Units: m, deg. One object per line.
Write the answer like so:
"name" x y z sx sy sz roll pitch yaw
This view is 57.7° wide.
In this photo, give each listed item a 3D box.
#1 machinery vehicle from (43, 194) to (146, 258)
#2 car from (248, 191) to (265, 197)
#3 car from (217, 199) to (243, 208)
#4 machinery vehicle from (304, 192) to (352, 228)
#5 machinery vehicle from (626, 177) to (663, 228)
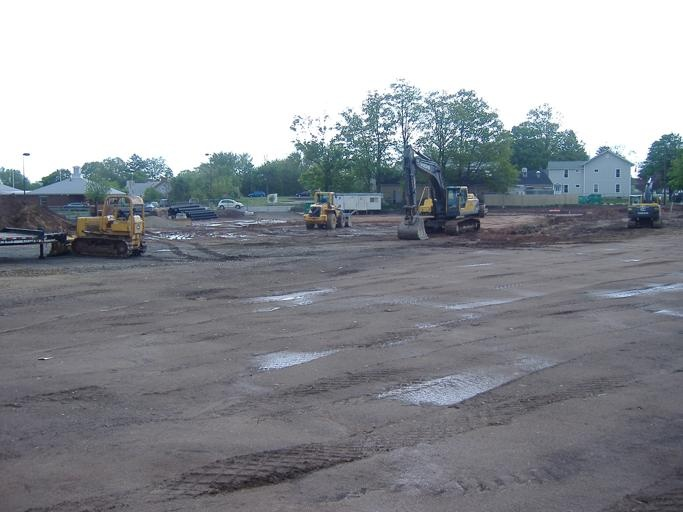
"machinery vehicle" -10.284 -1.335 26.411 3.525 2.233 1.725 -1 8 7
"car" -17.963 -12.866 128.515 3.554 1.012 1.975 2 5 2
"car" -14.876 -6.672 82.568 3.935 1.253 1.707 -1 12 -3
"machinery vehicle" -1.122 -3.410 46.024 2.570 2.524 4.343 5 9 21
"machinery vehicle" 18.604 -2.984 38.265 1.789 2.319 2.104 2 8 23
